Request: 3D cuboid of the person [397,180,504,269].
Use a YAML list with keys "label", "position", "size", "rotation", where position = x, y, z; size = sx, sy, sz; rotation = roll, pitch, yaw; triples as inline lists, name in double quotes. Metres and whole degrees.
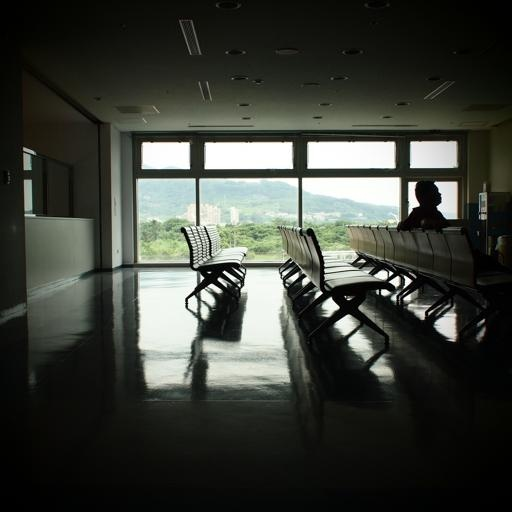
- label: "person"
  position: [2.324, -0.405, 5.035]
  size: [1.183, 0.934, 0.550]
  rotation: [4, 14, 15]
